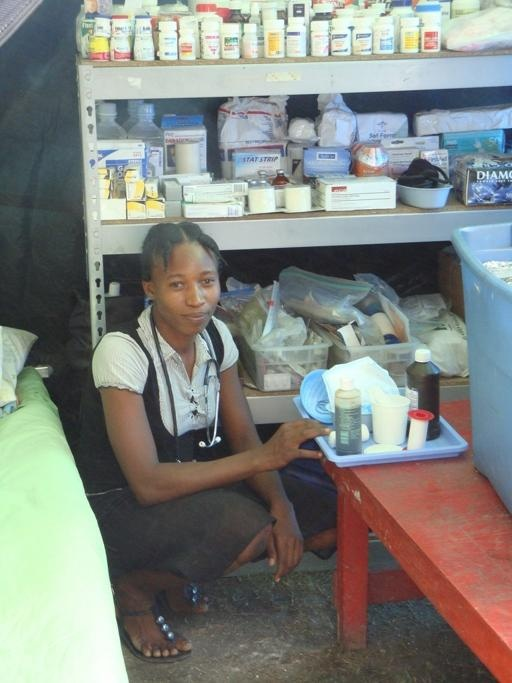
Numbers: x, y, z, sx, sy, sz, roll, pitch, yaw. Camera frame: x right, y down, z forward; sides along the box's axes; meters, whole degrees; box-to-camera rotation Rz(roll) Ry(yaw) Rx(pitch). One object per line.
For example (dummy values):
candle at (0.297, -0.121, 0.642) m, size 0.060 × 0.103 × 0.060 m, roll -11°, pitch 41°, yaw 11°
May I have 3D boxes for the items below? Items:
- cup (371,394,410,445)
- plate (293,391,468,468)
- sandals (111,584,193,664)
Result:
cup at (0.253, 0.154, 1.186) m, size 0.094 × 0.086 × 0.078 m, roll 2°, pitch 4°, yaw -4°
plate at (0.242, 0.169, 1.155) m, size 0.191 × 0.020 × 0.188 m, roll -4°, pitch 13°, yaw -17°
sandals at (-0.259, 0.635, 1.431) m, size 0.097 × 0.103 × 0.261 m, roll -9°, pitch 11°, yaw -40°
